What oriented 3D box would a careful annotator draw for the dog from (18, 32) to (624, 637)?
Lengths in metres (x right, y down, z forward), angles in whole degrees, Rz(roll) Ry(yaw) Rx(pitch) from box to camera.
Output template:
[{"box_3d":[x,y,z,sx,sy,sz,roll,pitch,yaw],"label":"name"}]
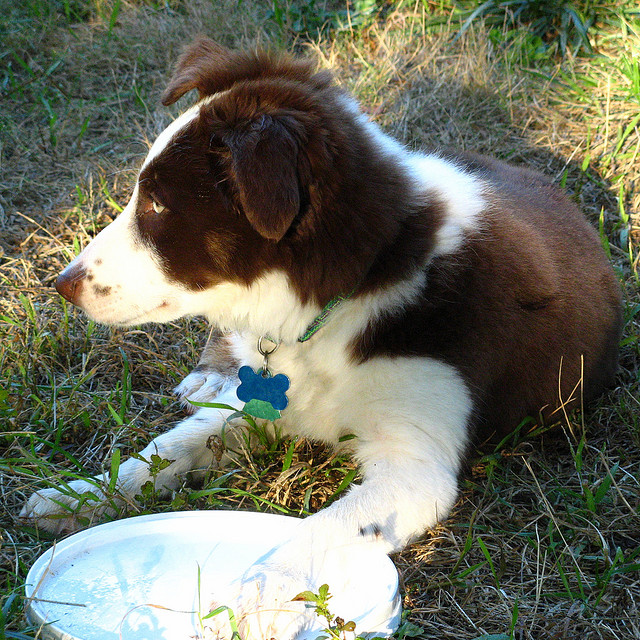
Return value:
[{"box_3d":[0.297,-0.336,2.862,2.782,1.666,1.603,-28,42,-26],"label":"dog"}]
